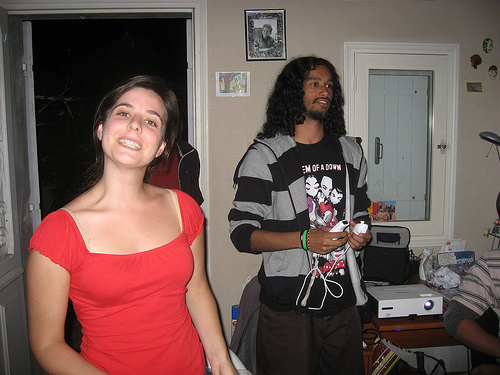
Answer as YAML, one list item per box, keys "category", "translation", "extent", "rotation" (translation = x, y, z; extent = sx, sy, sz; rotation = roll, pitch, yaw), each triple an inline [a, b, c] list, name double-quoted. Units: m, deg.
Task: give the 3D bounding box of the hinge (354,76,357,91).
- category: "hinge"
  translation: [0.841, -0.832, 3.247]
  extent: [0.032, 0.116, 0.013]
  rotation: [-5, 7, -31]

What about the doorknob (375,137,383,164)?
- category: "doorknob"
  translation: [1.045, -0.302, 3.304]
  extent: [0.066, 0.213, 0.020]
  rotation: [-2, 7, -12]

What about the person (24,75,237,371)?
- category: "person"
  translation: [-0.514, 0.173, 1.762]
  extent: [0.814, 1.336, 0.470]
  rotation: [-5, 8, -31]

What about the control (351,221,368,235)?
- category: "control"
  translation: [0.583, 0.222, 2.177]
  extent: [0.052, 0.073, 0.075]
  rotation: [28, -3, 29]

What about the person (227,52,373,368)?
- category: "person"
  translation: [0.303, 0.130, 2.305]
  extent: [0.819, 1.755, 0.592]
  rotation: [-1, 6, -5]

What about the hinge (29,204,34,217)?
- category: "hinge"
  translation: [-1.688, 0.182, 3.183]
  extent: [0.021, 0.107, 0.080]
  rotation: [-3, 7, -19]

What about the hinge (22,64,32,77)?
- category: "hinge"
  translation: [-1.733, -0.924, 3.194]
  extent: [0.079, 0.079, 0.020]
  rotation: [3, 3, -10]

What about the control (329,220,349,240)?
- category: "control"
  translation: [0.458, 0.203, 2.067]
  extent: [0.056, 0.117, 0.028]
  rotation: [25, 24, -37]
